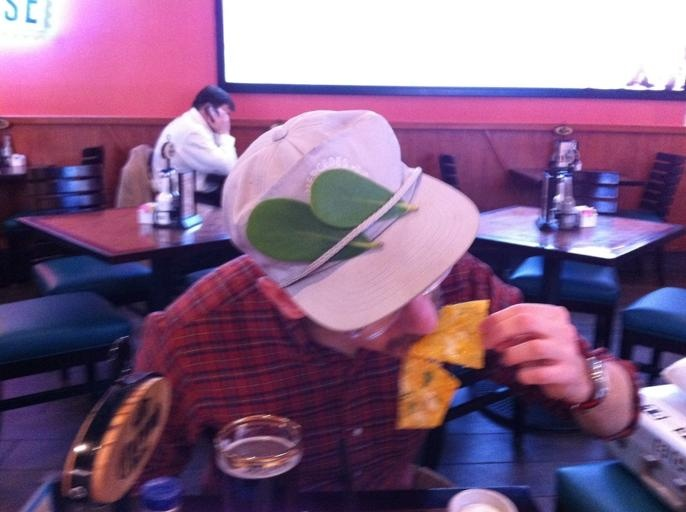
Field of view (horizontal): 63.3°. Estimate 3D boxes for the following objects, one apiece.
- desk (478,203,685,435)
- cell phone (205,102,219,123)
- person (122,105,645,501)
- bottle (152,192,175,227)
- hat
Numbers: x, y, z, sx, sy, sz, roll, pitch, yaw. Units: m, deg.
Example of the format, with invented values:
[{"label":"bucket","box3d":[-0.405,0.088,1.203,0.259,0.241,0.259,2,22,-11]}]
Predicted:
[{"label":"desk","box3d":[1.101,0.047,2.773,0.710,0.632,0.682,11,41,16]},{"label":"cell phone","box3d":[-1.123,-1.233,4.722,0.069,0.154,0.096,-9,33,50]},{"label":"person","box3d":[-0.034,0.079,1.271,1.079,0.522,0.825,13,26,42]},{"label":"bottle","box3d":[-0.833,-0.227,2.636,0.148,0.148,0.145,-1,17,-16]},{"label":"hat","box3d":[0.008,-0.097,1.183,0.463,0.375,0.388,22,37,38]}]
